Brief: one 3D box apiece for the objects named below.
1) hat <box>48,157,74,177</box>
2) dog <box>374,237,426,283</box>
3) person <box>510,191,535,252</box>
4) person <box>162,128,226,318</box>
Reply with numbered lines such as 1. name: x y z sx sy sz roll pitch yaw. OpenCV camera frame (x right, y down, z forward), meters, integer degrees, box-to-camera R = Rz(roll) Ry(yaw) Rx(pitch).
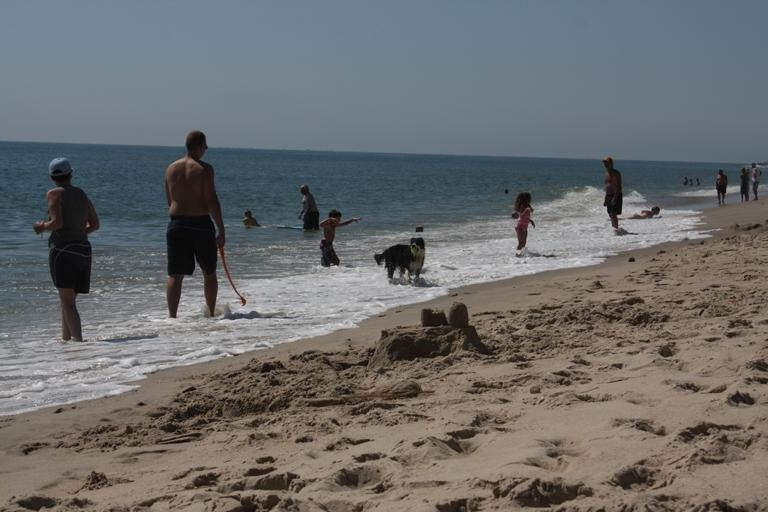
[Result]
1. hat: -3.784 -1.012 9.385 0.290 0.186 0.387 -2 16 -7
2. dog: 0.351 0.009 12.227 0.253 0.449 1.011 -9 3 38
3. person: 2.696 -0.627 15.295 0.364 1.182 1.383 1 12 11
4. person: -2.367 -0.373 9.888 0.797 2.323 1.462 -4 12 -12
